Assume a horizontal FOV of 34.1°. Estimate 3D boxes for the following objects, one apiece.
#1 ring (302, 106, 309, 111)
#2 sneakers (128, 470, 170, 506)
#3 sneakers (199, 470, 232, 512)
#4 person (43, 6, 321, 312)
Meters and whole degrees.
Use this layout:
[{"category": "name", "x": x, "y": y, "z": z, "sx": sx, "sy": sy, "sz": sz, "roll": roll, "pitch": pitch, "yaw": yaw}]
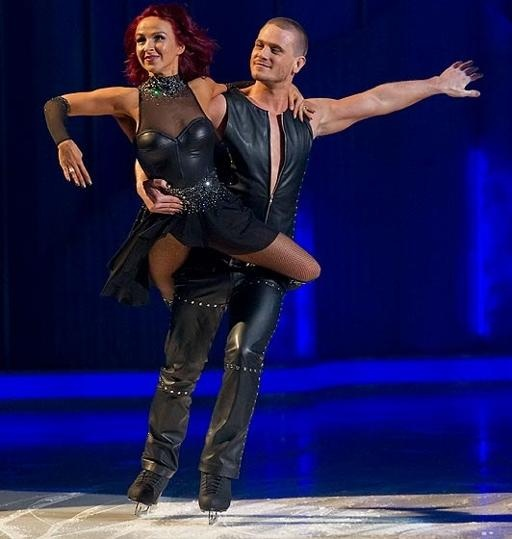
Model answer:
[{"category": "ring", "x": 0.173, "y": -0.578, "z": 3.013, "sx": 0.021, "sy": 0.018, "sz": 0.007, "roll": -40, "pitch": 16, "yaw": -28}, {"category": "sneakers", "x": -0.366, "y": 0.725, "z": 2.772, "sx": 0.070, "sy": 0.079, "sz": 0.186, "roll": 41, "pitch": 0, "yaw": 4}, {"category": "sneakers", "x": -0.136, "y": 0.726, "z": 2.725, "sx": 0.103, "sy": 0.126, "sz": 0.070, "roll": 8, "pitch": -11, "yaw": -10}, {"category": "person", "x": -0.264, "y": -0.386, "z": 2.927, "sx": 0.973, "sy": 0.992, "sz": 0.398, "roll": 8, "pitch": -11, "yaw": -12}]
